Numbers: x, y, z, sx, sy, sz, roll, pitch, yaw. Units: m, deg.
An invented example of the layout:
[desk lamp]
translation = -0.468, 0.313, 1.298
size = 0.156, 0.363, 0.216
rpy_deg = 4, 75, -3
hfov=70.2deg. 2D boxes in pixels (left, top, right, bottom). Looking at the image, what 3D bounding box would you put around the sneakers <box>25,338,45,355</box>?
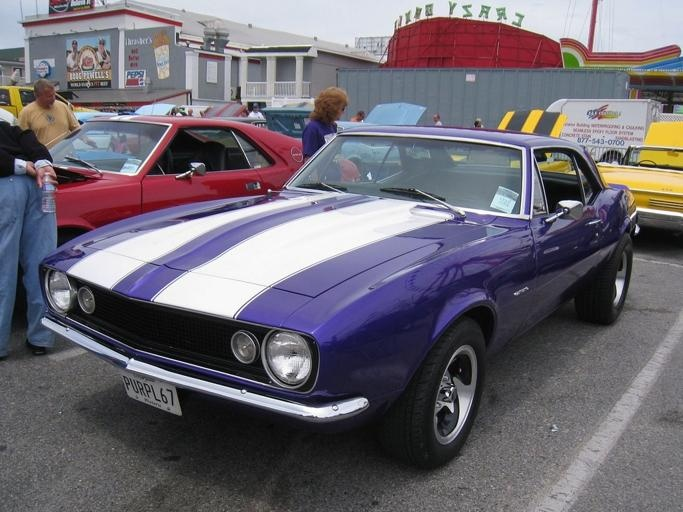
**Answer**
[sneakers]
translation = -2.477, 0.721, 3.943
size = 0.245, 0.094, 0.084
rpy_deg = 8, 14, 40
